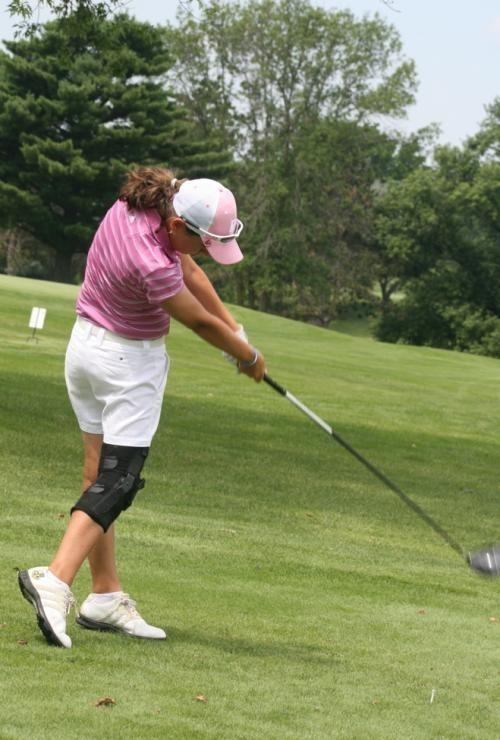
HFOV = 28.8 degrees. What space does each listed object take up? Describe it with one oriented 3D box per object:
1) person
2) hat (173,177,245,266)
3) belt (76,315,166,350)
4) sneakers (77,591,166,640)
[{"bbox_3d":[-0.382,0.106,3.405,0.601,1.147,0.556,9,4,-5],"label":"person"},{"bbox_3d":[-0.137,-0.525,3.418,0.310,0.213,0.206,7,5,-25],"label":"hat"},{"bbox_3d":[-0.436,-0.140,3.440,0.183,0.050,0.130,9,-14,-5],"label":"belt"},{"bbox_3d":[-0.421,0.887,3.543,0.362,0.161,0.126,13,-3,5],"label":"sneakers"}]
